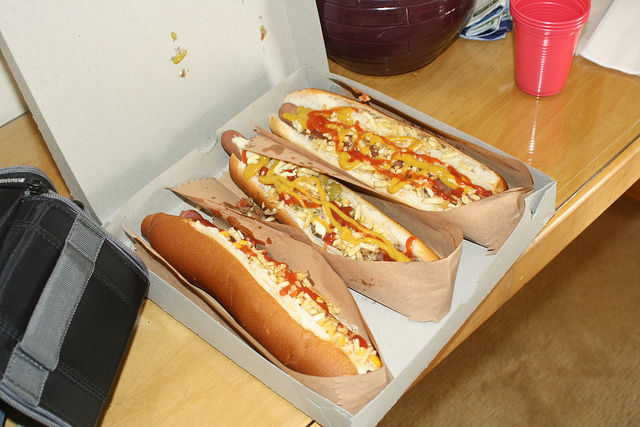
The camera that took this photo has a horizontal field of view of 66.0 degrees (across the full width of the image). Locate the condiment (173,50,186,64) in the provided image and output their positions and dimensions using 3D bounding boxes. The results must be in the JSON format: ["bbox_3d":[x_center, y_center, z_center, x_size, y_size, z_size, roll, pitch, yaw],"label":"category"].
[{"bbox_3d":[-0.484,-0.538,1.695,0.009,0.027,0.054,27,76,43],"label":"condiment"}]

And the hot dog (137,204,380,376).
[{"bbox_3d":[-0.179,0.241,1.734,1.007,0.265,0.315,43,91,20],"label":"hot dog"}]

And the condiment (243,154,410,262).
[{"bbox_3d":[0.046,-0.012,1.703,0.475,0.081,0.094,41,95,9],"label":"condiment"}]

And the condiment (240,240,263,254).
[{"bbox_3d":[-0.225,0.110,1.654,0.079,0.035,0.021,28,61,-20],"label":"condiment"}]

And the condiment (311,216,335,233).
[{"bbox_3d":[0.014,0.036,1.687,0.039,0.020,0.074,-43,75,-8],"label":"condiment"}]

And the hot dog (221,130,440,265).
[{"bbox_3d":[0.000,-0.013,1.776,0.834,0.149,0.221,35,64,6],"label":"hot dog"}]
